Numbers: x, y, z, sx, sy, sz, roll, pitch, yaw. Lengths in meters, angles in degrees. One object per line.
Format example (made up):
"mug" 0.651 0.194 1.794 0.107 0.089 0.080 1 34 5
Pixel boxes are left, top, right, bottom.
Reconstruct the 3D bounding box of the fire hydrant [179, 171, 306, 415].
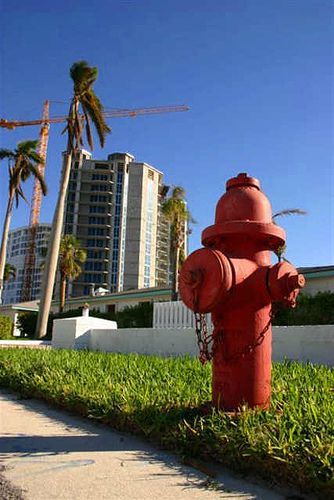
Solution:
"fire hydrant" 0.545 0.262 3.679 0.906 1.938 0.697 2 -12 1
